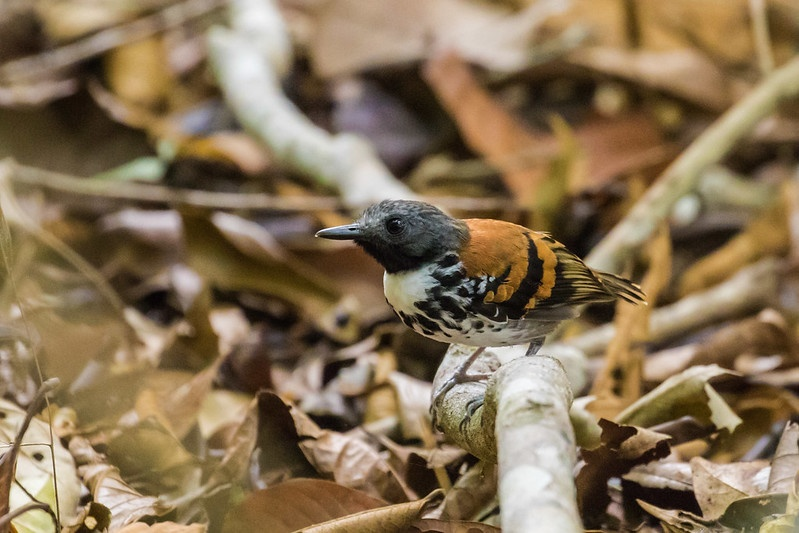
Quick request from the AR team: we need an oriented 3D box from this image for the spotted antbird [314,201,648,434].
[{"bbox_3d":[0.646,0.149,7.023,2.334,1.244,0.959,-9,8,-31],"label":"spotted antbird"}]
